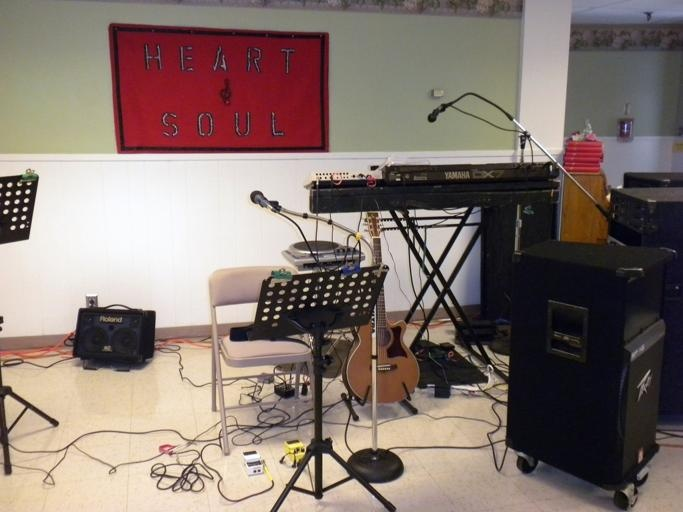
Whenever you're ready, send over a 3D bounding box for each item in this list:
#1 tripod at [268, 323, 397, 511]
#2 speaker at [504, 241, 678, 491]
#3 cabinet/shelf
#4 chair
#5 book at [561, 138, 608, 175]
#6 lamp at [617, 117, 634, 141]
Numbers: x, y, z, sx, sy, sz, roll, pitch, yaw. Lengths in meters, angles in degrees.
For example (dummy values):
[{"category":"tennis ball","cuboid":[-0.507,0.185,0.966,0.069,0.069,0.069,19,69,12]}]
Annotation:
[{"category":"tripod","cuboid":[-0.046,1.029,3.874,0.731,1.141,0.679,-6,17,-16]},{"category":"speaker","cuboid":[1.433,0.573,3.635,0.761,1.255,0.640,7,16,37]},{"category":"cabinet/shelf","cuboid":[2.206,-0.441,5.615,0.417,0.627,0.238,0,13,16]},{"category":"chair","cuboid":[-0.541,0.681,4.244,0.801,1.231,0.777,-2,7,-23]},{"category":"book","cuboid":[2.216,-0.931,5.742,0.294,0.208,0.309,0,11,7]},{"category":"lamp","cuboid":[3.779,-1.692,8.226,0.186,0.324,0.433,2,14,24]}]
